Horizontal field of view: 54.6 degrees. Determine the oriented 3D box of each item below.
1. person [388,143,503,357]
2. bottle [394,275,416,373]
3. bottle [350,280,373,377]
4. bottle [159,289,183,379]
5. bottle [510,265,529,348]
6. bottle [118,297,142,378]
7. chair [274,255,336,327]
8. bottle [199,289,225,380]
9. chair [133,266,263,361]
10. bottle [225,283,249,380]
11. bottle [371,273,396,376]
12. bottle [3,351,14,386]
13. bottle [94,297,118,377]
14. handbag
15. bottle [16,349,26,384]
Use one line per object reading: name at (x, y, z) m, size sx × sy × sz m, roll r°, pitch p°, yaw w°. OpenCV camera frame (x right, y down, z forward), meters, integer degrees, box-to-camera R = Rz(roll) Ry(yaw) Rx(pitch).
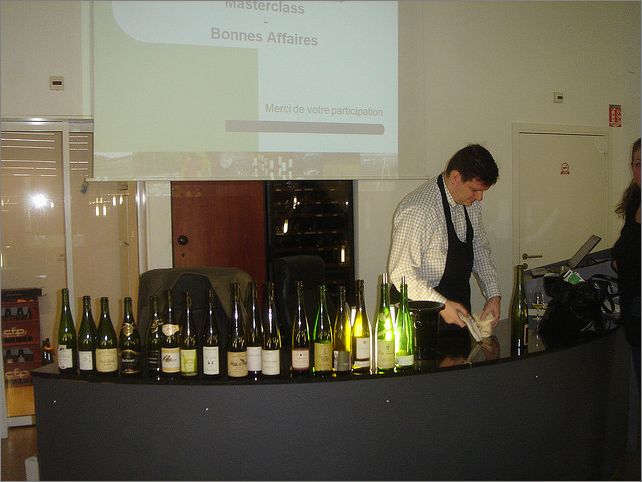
person at (0.694, -0.031, 3.430) m, size 0.517 × 0.982 × 0.778 m, roll 7°, pitch 16°, yaw 29°
bottle at (0.383, 0.382, 2.825) m, size 0.091 × 0.359 × 0.194 m, roll 1°, pitch 13°, yaw 8°
bottle at (0.183, 0.377, 2.788) m, size 0.089 × 0.388 × 0.172 m, roll 0°, pitch 13°, yaw 3°
bottle at (-0.689, 0.404, 2.816) m, size 0.094 × 0.347 × 0.224 m, roll -4°, pitch 14°, yaw -13°
bottle at (0.985, 0.320, 3.073) m, size 0.088 × 0.380 × 0.364 m, roll 4°, pitch 15°, yaw 19°
bottle at (-0.890, 0.419, 2.871) m, size 0.099 × 0.300 × 0.293 m, roll -4°, pitch 15°, yaw -16°
chair at (-0.144, 0.285, 3.995) m, size 0.369 × 0.589 × 0.403 m, roll 0°, pitch 4°, yaw -40°
bottle at (-0.498, 0.409, 2.781) m, size 0.086 × 0.352 × 0.197 m, roll -3°, pitch 14°, yaw -11°
chair at (-0.729, 0.468, 3.605) m, size 0.648 × 0.733 × 0.371 m, roll 1°, pitch -6°, yaw -19°
bottle at (-0.386, 0.383, 2.794) m, size 0.093 × 0.389 × 0.263 m, roll -3°, pitch 14°, yaw -10°
bottle at (0.284, 0.364, 2.795) m, size 0.096 × 0.406 × 0.232 m, roll 1°, pitch 13°, yaw 5°
bottle at (-2.265, 0.914, 4.510) m, size 0.077 × 0.238 × 0.042 m, roll -11°, pitch 16°, yaw -37°
bottle at (-0.994, 0.420, 2.856) m, size 0.106 × 0.298 × 0.261 m, roll -5°, pitch 15°, yaw -20°
handbag at (1.299, 0.265, 3.192) m, size 0.300 × 0.468 × 0.191 m, roll 0°, pitch 11°, yaw -5°
bottle at (-2.178, 0.915, 4.531) m, size 0.048 × 0.226 × 0.049 m, roll -1°, pitch 13°, yaw 0°
